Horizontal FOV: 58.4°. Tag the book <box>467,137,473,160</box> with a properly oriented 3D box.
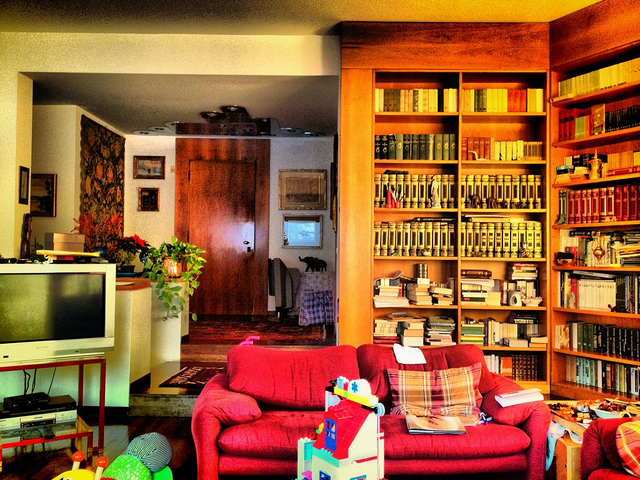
[{"bbox_3d":[1.484,-0.912,5.659,0.051,0.211,0.028,0,-3,2],"label":"book"}]

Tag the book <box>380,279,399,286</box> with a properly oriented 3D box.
[{"bbox_3d":[0.695,0.421,5.689,0.185,0.063,0.028,0,-3,-8],"label":"book"}]

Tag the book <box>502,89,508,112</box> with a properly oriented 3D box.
[{"bbox_3d":[1.814,-1.376,5.608,0.061,0.229,0.024,1,-4,-23],"label":"book"}]

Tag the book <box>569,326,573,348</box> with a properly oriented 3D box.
[{"bbox_3d":[2.429,0.938,5.533,0.009,0.207,0.037,3,-4,-41],"label":"book"}]

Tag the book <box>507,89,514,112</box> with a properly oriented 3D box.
[{"bbox_3d":[1.873,-1.382,5.621,0.068,0.215,0.015,0,-3,-12],"label":"book"}]

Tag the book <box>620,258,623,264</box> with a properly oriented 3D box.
[{"bbox_3d":[2.783,0.192,5.282,0.033,0.046,0.047,0,-1,4],"label":"book"}]

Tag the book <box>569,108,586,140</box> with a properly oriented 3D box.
[{"bbox_3d":[2.464,-1.107,5.473,0.178,0.303,0.316,-1,-2,27],"label":"book"}]

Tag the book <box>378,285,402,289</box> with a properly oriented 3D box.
[{"bbox_3d":[0.691,0.466,5.669,0.233,0.032,0.063,0,-3,-1],"label":"book"}]

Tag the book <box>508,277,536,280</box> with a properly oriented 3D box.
[{"bbox_3d":[2.031,0.381,5.700,0.235,0.020,0.051,0,-3,-9],"label":"book"}]

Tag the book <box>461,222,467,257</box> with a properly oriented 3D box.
[{"bbox_3d":[1.422,-0.014,5.651,0.063,0.331,0.022,0,-3,-3],"label":"book"}]

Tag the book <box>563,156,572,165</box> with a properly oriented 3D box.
[{"bbox_3d":[2.414,-0.779,5.576,0.082,0.079,0.033,-2,-4,28],"label":"book"}]

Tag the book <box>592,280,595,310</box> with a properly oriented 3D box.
[{"bbox_3d":[2.575,0.508,5.384,0.017,0.266,0.028,0,-3,-3],"label":"book"}]

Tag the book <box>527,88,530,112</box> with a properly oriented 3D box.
[{"bbox_3d":[2.051,-1.383,5.627,0.026,0.231,0.017,-1,-3,9],"label":"book"}]

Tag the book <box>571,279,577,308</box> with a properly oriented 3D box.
[{"bbox_3d":[2.448,0.509,5.501,0.054,0.265,0.020,-3,-4,34],"label":"book"}]

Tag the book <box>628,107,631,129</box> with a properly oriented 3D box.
[{"bbox_3d":[2.804,-1.112,5.178,0.026,0.201,0.027,-1,-3,11],"label":"book"}]

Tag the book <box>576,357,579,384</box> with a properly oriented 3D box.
[{"bbox_3d":[2.470,1.248,5.484,0.028,0.238,0.019,-2,-4,24],"label":"book"}]

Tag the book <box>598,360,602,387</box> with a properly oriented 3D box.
[{"bbox_3d":[2.624,1.258,5.357,0.038,0.239,0.010,-2,-4,26],"label":"book"}]

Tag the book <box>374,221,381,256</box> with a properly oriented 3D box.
[{"bbox_3d":[0.567,-0.006,5.659,0.119,0.308,0.334,0,0,4],"label":"book"}]

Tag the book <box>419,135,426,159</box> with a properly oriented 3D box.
[{"bbox_3d":[1.014,-0.930,5.659,0.063,0.237,0.018,0,-3,-5],"label":"book"}]

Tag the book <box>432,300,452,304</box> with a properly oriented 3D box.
[{"bbox_3d":[1.199,0.608,5.628,0.182,0.037,0.043,-1,-3,9],"label":"book"}]

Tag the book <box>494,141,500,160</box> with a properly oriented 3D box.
[{"bbox_3d":[1.756,-0.893,5.680,0.057,0.174,0.016,0,-3,-9],"label":"book"}]

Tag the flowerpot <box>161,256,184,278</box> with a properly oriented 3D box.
[{"bbox_3d":[-1.580,0.287,6.157,0.264,0.230,0.149,3,-5,-45],"label":"flowerpot"}]

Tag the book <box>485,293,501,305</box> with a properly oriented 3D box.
[{"bbox_3d":[1.716,0.583,5.663,0.121,0.120,0.027,-3,4,-10],"label":"book"}]

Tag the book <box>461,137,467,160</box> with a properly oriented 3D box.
[{"bbox_3d":[1.418,-0.911,5.646,0.084,0.220,0.029,2,-4,-36],"label":"book"}]

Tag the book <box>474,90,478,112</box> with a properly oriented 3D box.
[{"bbox_3d":[1.533,-1.377,5.619,0.033,0.210,0.013,0,-3,-9],"label":"book"}]

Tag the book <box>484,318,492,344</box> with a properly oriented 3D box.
[{"bbox_3d":[1.674,0.905,5.651,0.040,0.234,0.069,-1,-3,5],"label":"book"}]

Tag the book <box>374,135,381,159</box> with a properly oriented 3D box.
[{"bbox_3d":[0.571,-0.928,5.658,0.058,0.236,0.019,-1,-3,5],"label":"book"}]

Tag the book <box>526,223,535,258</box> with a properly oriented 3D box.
[{"bbox_3d":[2.073,-0.007,5.634,0.083,0.328,0.028,0,-3,-9],"label":"book"}]

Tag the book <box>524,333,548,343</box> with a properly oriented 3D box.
[{"bbox_3d":[2.112,0.962,5.590,0.173,0.074,0.122,0,-3,-9],"label":"book"}]

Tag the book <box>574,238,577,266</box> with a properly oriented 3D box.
[{"bbox_3d":[2.491,0.108,5.571,0.030,0.266,0.108,-2,-4,24],"label":"book"}]

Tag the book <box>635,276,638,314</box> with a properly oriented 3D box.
[{"bbox_3d":[2.858,0.492,5.167,0.029,0.333,0.014,-2,-4,33],"label":"book"}]

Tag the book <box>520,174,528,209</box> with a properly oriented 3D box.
[{"bbox_3d":[2.010,-0.480,5.647,0.089,0.338,0.053,0,-3,-1],"label":"book"}]

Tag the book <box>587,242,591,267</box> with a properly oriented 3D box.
[{"bbox_3d":[2.587,0.128,5.497,0.032,0.218,0.024,-2,-4,33],"label":"book"}]

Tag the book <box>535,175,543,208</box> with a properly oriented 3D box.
[{"bbox_3d":[2.167,-0.486,5.662,0.085,0.319,0.026,0,-3,-12],"label":"book"}]

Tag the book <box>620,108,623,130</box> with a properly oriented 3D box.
[{"bbox_3d":[2.763,-1.114,5.236,0.026,0.195,0.025,2,-4,-30],"label":"book"}]

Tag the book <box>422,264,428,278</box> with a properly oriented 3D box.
[{"bbox_3d":[1.059,0.309,5.778,0.045,0.133,0.188,-1,-3,13],"label":"book"}]

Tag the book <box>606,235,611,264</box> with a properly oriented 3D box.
[{"bbox_3d":[2.716,0.088,5.383,0.019,0.266,0.046,3,-4,-40],"label":"book"}]

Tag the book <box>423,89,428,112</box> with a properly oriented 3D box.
[{"bbox_3d":[1.036,-1.378,5.629,0.045,0.222,0.023,-1,-3,8],"label":"book"}]

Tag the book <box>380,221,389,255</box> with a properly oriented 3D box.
[{"bbox_3d":[0.637,-0.017,5.657,0.088,0.324,0.037,0,-3,2],"label":"book"}]

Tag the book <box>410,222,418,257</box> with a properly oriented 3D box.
[{"bbox_3d":[0.929,-0.017,5.663,0.079,0.325,0.024,0,-3,-7],"label":"book"}]

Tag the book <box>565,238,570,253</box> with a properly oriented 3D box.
[{"bbox_3d":[2.429,0.042,5.619,0.043,0.131,0.039,-2,-4,23],"label":"book"}]

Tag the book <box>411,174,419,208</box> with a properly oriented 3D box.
[{"bbox_3d":[0.942,-0.487,5.672,0.078,0.322,0.026,-1,-3,8],"label":"book"}]

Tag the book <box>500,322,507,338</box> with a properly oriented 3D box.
[{"bbox_3d":[1.830,0.896,5.660,0.098,0.127,0.132,0,-4,11],"label":"book"}]
